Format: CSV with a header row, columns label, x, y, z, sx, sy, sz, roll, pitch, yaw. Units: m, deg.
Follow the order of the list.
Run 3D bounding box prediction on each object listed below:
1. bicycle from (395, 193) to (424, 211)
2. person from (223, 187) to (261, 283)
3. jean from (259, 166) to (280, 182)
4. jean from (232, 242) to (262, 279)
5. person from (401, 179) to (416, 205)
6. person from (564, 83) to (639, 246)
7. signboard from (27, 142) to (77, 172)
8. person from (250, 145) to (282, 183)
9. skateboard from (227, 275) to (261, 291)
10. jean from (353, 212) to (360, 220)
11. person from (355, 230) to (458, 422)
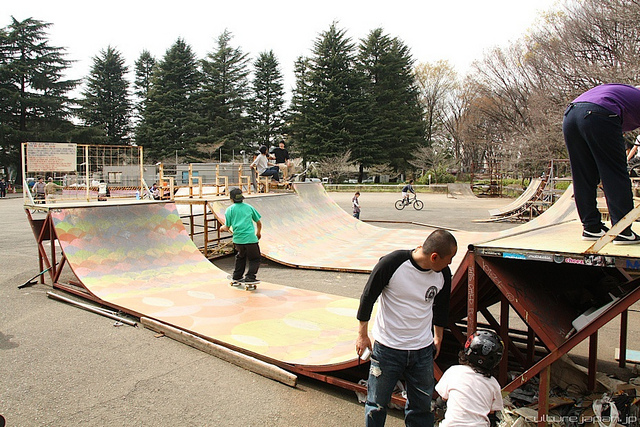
label,x,y,z,sx,sy,sz,roll,pitch,yaw
bicycle,5.302,-0.646,26.948,1.746,1.083,0.872,-2,6,8
person,-1.433,0.434,9.028,0.647,1.824,0.807,-8,10,-39
jean,-1.814,-1.424,16.375,0.556,0.222,0.412,9,6,12
jean,-1.466,0.943,8.972,0.528,0.712,0.512,-2,7,-1
person,5.191,-1.102,27.224,0.726,1.139,1.627,-1,7,9
person,3.266,-0.596,5.319,0.782,1.811,0.627,1,9,24
signboard,-6.948,-1.434,11.865,0.652,0.746,1.318,5,9,41
person,-1.840,-1.629,16.310,1.173,1.537,0.760,-4,14,-4
skateboard,-1.531,1.356,9.062,0.846,0.200,0.331,4,9,41
jean,1.533,0.093,19.760,0.284,0.284,0.225,12,13,25
person,0.979,1.254,5.073,1.090,2.107,0.436,-4,8,-14
